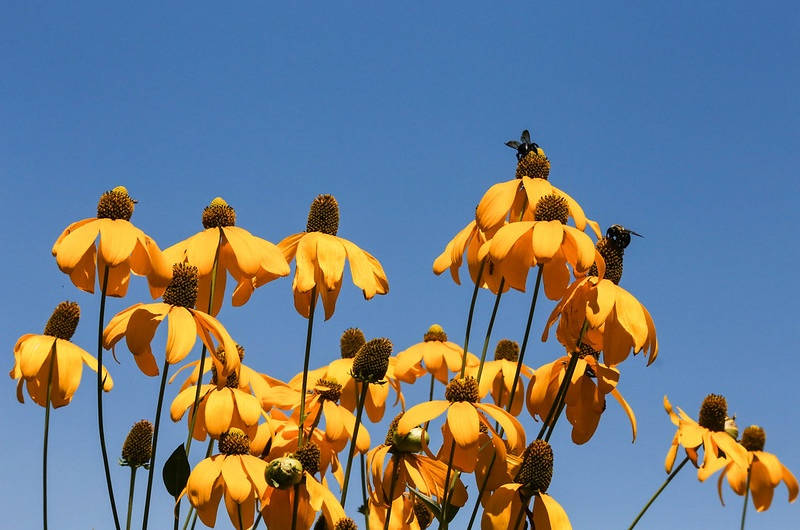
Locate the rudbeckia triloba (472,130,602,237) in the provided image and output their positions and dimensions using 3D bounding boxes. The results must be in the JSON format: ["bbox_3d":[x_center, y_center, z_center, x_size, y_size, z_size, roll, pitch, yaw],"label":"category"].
[{"bbox_3d":[0.798,-0.447,8.221,0.651,0.540,0.614,7,2,-44],"label":"rudbeckia triloba"}]

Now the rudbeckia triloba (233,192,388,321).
[{"bbox_3d":[-0.431,-0.072,8.203,0.747,0.661,0.805,14,15,13],"label":"rudbeckia triloba"}]

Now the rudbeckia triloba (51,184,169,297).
[{"bbox_3d":[-1.575,-0.160,7.873,0.481,0.601,0.516,9,3,-24],"label":"rudbeckia triloba"}]

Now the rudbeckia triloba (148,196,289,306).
[{"bbox_3d":[-0.998,-0.122,8.105,0.640,0.565,0.737,-9,-9,-1],"label":"rudbeckia triloba"}]

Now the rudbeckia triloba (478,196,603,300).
[{"bbox_3d":[0.849,-0.143,7.884,0.462,0.506,0.501,1,-7,5],"label":"rudbeckia triloba"}]
